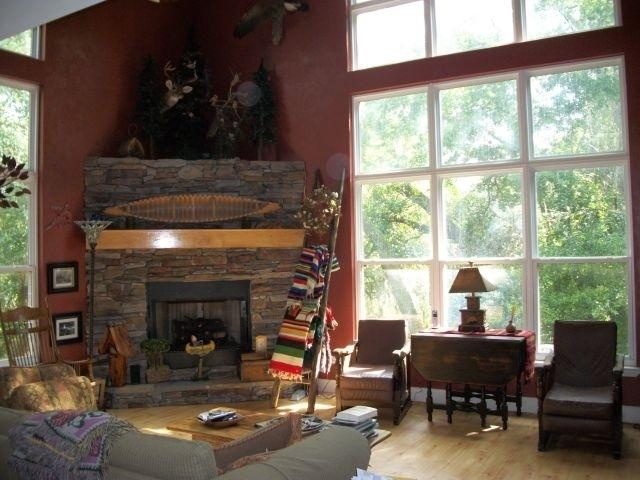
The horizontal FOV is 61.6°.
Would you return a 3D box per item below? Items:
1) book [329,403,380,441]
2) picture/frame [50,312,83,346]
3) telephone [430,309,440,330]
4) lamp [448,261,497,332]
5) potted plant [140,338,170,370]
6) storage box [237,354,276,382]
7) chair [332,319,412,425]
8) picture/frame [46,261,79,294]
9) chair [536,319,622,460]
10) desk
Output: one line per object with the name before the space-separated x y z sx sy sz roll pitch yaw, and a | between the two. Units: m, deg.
book | 0.309 1.444 4.354 0.366 0.187 0.397 4 -3 -37
picture/frame | -3.057 1.056 6.462 0.377 0.350 0.027 -7 -10 6
telephone | 1.400 0.928 6.514 0.091 0.200 0.096 1 4 9
lamp | 1.689 0.611 5.881 0.463 0.739 0.422 2 5 22
potted plant | -2.038 1.393 6.780 0.338 0.390 0.382 0 0 15
storage box | -0.814 1.488 6.656 0.460 0.281 0.314 2 -4 -22
chair | 0.631 1.428 6.106 0.930 0.954 0.916 -2 -1 40
picture/frame | -3.101 0.431 6.400 0.044 0.379 0.418 -4 -3 38
chair | 2.505 1.314 5.156 0.921 1.314 1.223 -4 -10 28
desk | 1.724 1.278 5.944 1.489 1.057 0.987 -3 -8 27
